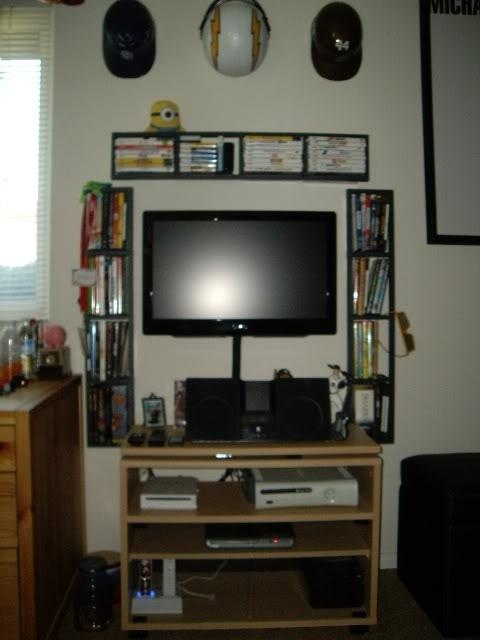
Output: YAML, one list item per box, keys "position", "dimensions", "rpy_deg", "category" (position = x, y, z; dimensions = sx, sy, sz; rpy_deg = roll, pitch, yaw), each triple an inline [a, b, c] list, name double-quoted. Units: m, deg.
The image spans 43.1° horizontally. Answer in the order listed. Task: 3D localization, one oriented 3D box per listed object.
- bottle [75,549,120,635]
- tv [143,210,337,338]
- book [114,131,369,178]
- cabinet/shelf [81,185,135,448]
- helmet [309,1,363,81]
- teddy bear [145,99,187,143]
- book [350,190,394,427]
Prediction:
- position: [-0.488, 1.011, 2.251]
  dimensions: [0.129, 0.289, 0.251]
  rpy_deg: [1, -4, -7]
  category: "bottle"
- position: [0.005, -0.184, 2.348]
  dimensions: [0.739, 0.473, 0.062]
  rpy_deg: [1, 2, 0]
  category: "tv"
- position: [0.010, -0.683, 2.514]
  dimensions: [1.066, 0.197, 0.037]
  rpy_deg: [1, 2, -3]
  category: "book"
- position: [-0.554, 0.001, 2.495]
  dimensions: [0.177, 1.087, 0.096]
  rpy_deg: [-3, 8, -25]
  category: "cabinet/shelf"
- position: [0.398, -1.134, 2.472]
  dimensions: [0.220, 0.259, 0.223]
  rpy_deg: [1, 3, 8]
  category: "helmet"
- position: [-0.303, -0.818, 2.500]
  dimensions: [0.144, 0.145, 0.108]
  rpy_deg: [0, 3, -9]
  category: "teddy bear"
- position: [0.556, -0.013, 2.566]
  dimensions: [0.206, 1.071, 0.084]
  rpy_deg: [0, 2, -18]
  category: "book"
